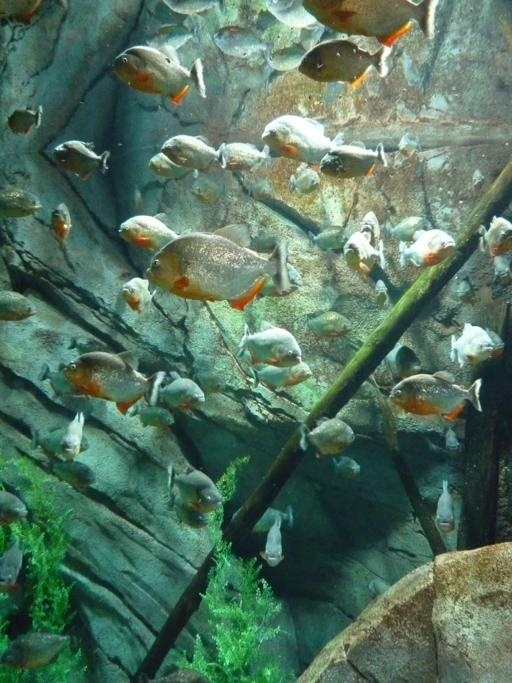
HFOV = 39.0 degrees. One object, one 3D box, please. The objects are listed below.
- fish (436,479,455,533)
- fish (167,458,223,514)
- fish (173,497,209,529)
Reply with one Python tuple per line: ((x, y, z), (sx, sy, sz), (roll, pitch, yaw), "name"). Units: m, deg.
((1.861, 1.535, 7.025), (0.193, 0.307, 0.633), (0, 42, 13), "fish")
((-0.546, 1.351, 6.843), (0.309, 0.454, 0.998), (3, 3, -32), "fish")
((-0.554, 1.564, 6.775), (0.326, 0.247, 0.107), (40, 46, 6), "fish")
